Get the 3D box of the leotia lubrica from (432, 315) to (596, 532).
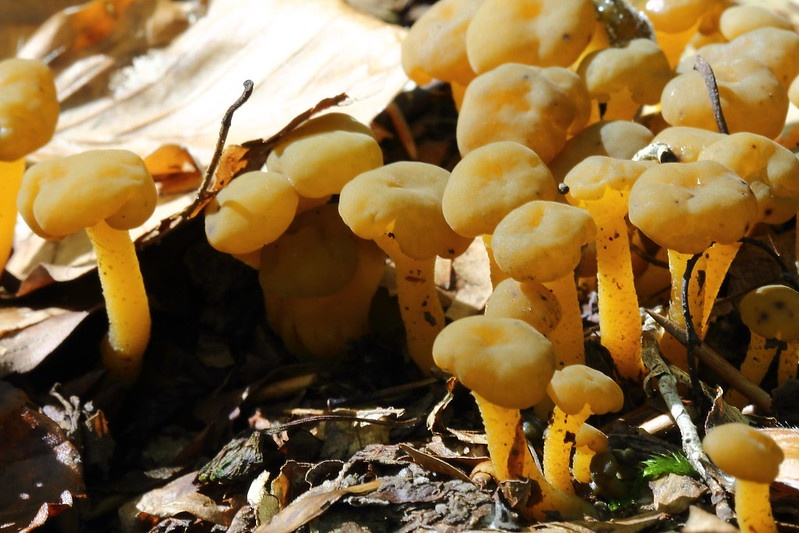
[{"bbox_3d":[0.442,0.612,3.656,0.359,0.886,0.422,-42,39,-22],"label":"leotia lubrica"}]
